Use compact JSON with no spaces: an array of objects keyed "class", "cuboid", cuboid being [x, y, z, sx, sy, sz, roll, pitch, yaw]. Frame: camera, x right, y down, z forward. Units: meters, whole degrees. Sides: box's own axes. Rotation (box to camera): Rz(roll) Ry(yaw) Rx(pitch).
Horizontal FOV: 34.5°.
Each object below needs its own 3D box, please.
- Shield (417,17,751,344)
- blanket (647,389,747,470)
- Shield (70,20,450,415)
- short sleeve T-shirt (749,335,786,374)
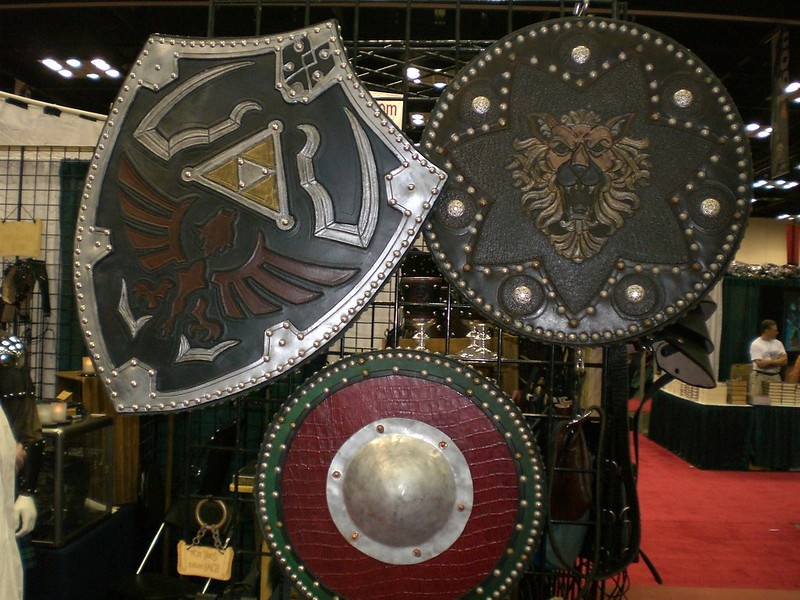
[{"class":"Shield","cuboid":[0.928,-0.601,6.812,2.171,2.319,0.364,1,2,5]},{"class":"blanket","cuboid":[2.668,1.151,11.133,0.525,0.430,0.839,2,0,-6]},{"class":"Shield","cuboid":[-0.720,-0.359,6.878,1.628,2.060,0.341,35,-1,1]},{"class":"short sleeve T-shirt","cuboid":[3.291,0.502,11.459,0.295,0.331,0.180,-5,-1,-4]}]
